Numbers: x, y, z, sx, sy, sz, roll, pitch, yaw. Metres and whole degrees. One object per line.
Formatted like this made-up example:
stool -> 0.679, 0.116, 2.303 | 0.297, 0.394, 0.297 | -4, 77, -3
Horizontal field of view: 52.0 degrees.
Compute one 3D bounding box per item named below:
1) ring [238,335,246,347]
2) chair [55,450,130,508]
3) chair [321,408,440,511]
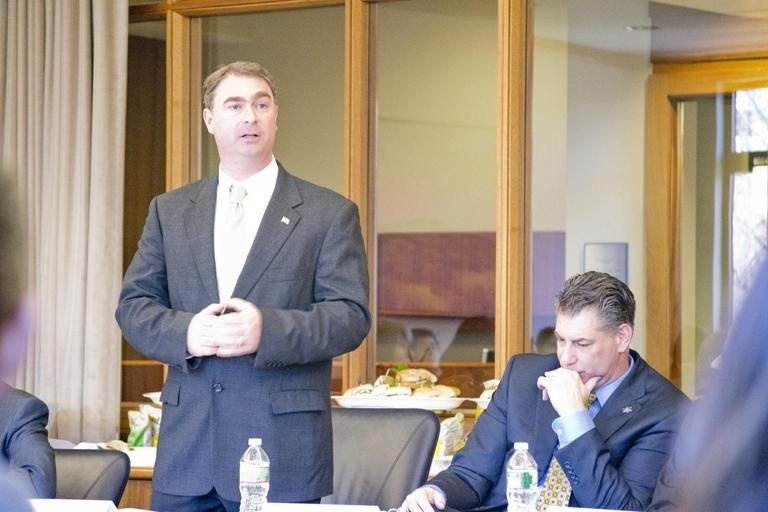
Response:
ring -> -0.321, 0.191, 1.778 | 0.014, 0.022, 0.008 | 3, 3, -10
chair -> -0.730, 0.573, 2.060 | 0.141, 0.182, 0.159 | 5, -21, 1
chair -> 0.023, 0.568, 2.224 | 0.243, 0.335, 0.276 | -2, -25, 21
